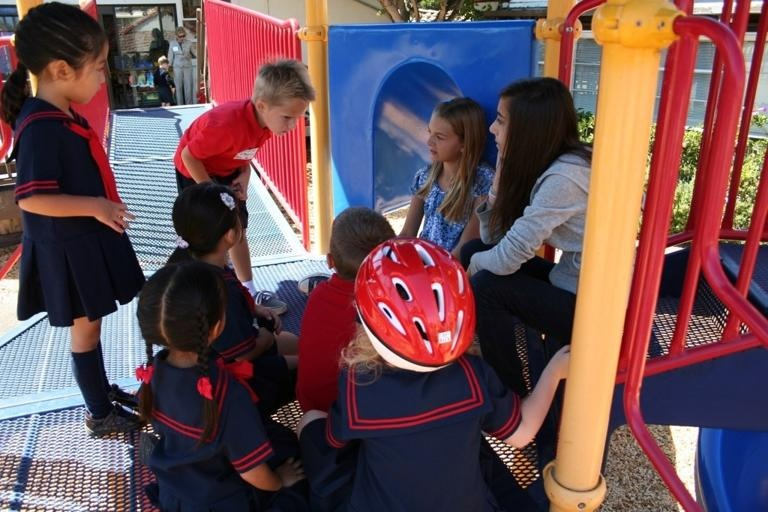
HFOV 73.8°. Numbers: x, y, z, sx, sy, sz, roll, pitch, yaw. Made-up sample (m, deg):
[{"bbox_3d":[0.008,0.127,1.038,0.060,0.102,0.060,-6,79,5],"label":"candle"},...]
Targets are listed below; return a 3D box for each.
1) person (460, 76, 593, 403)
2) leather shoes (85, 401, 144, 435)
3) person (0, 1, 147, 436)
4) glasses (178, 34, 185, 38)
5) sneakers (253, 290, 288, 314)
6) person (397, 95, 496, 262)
[{"bbox_3d":[0.647,-0.013,2.451,0.763,1.483,0.644,5,21,31],"label":"person"},{"bbox_3d":[-1.184,0.712,2.273,0.236,0.131,0.092,3,20,-32],"label":"leather shoes"},{"bbox_3d":[-1.315,-0.150,2.213,0.624,1.749,0.475,9,20,20],"label":"person"},{"bbox_3d":[-4.411,-4.846,11.284,0.076,0.066,0.139,18,26,37],"label":"glasses"},{"bbox_3d":[-0.670,0.272,3.077,0.184,0.067,0.119,31,28,28],"label":"sneakers"},{"bbox_3d":[0.280,-0.408,2.977,0.677,1.013,0.806,-1,17,11],"label":"person"}]
